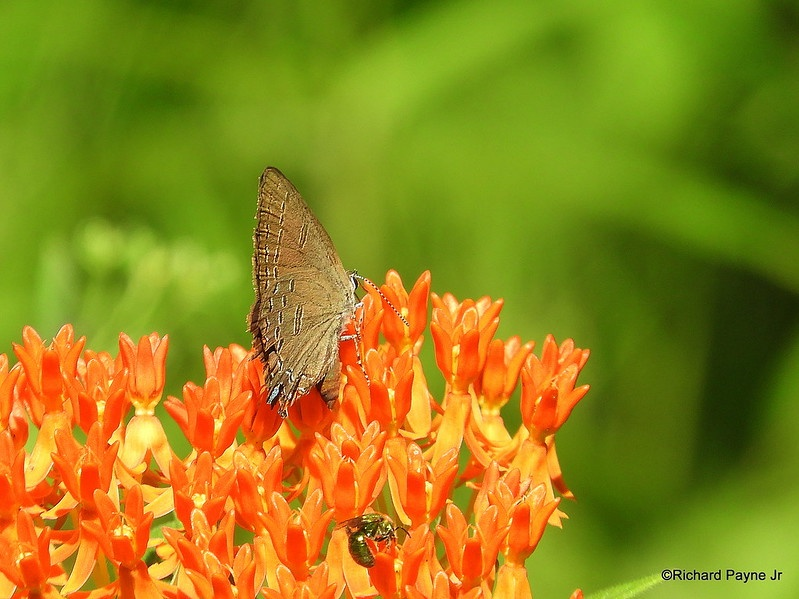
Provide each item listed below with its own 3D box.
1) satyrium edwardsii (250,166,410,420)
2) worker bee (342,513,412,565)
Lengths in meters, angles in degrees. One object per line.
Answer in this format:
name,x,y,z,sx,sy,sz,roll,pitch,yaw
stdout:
satyrium edwardsii,-0.135,-0.012,2.643,0.416,0.646,0.459,5,8,37
worker bee,-0.074,0.579,2.252,0.134,0.128,0.095,-3,15,-5
